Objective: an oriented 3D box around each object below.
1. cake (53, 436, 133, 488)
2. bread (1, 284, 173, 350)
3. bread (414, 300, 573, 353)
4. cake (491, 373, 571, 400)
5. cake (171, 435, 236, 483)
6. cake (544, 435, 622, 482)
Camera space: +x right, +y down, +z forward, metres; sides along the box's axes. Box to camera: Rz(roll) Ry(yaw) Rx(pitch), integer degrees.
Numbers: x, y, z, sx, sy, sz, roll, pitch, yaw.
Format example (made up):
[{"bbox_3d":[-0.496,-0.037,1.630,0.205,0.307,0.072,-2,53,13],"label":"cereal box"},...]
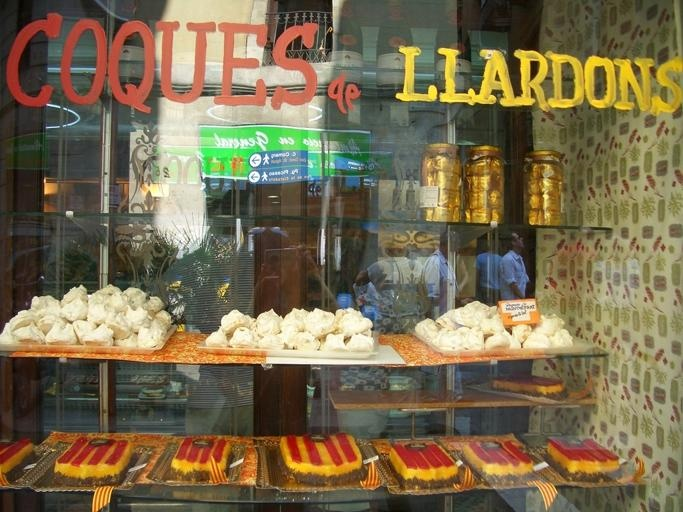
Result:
[{"bbox_3d":[-0.812,0.675,2.092,0.151,0.048,0.149,4,8,1],"label":"cake"},{"bbox_3d":[-0.826,0.216,2.120,0.362,0.107,0.280,1,0,-6],"label":"bread"},{"bbox_3d":[0.522,0.265,2.189,0.326,0.090,0.245,0,-1,-9],"label":"bread"},{"bbox_3d":[0.675,0.446,2.254,0.184,0.042,0.111,1,-2,9],"label":"cake"},{"bbox_3d":[-0.470,0.666,2.157,0.188,0.077,0.220,10,21,-9],"label":"cake"},{"bbox_3d":[0.818,0.677,2.195,0.146,0.042,0.144,0,3,-23],"label":"cake"}]
